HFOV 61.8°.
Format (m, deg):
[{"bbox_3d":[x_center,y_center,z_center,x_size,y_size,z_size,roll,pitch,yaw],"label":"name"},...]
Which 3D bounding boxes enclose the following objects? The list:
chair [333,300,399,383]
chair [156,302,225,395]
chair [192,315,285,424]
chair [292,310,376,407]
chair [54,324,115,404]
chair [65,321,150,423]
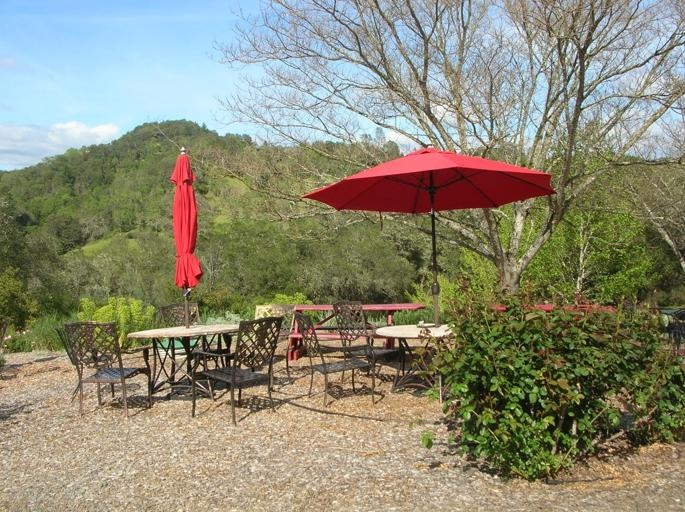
[{"bbox_3d":[0.305,1.193,7.995,0.681,1.121,0.654,-1,-4,30],"label":"chair"},{"bbox_3d":[-2.462,1.204,8.302,0.757,0.899,0.808,-6,4,7],"label":"chair"},{"bbox_3d":[-1.298,1.382,7.208,0.881,1.353,0.801,6,4,33],"label":"chair"},{"bbox_3d":[-0.109,1.318,7.455,0.865,1.357,0.687,-6,2,-24],"label":"chair"},{"bbox_3d":[-3.103,1.482,6.983,0.593,1.167,0.756,-2,32,-16],"label":"chair"},{"bbox_3d":[-2.950,1.398,7.332,0.793,1.284,0.909,-2,3,-1],"label":"chair"}]
